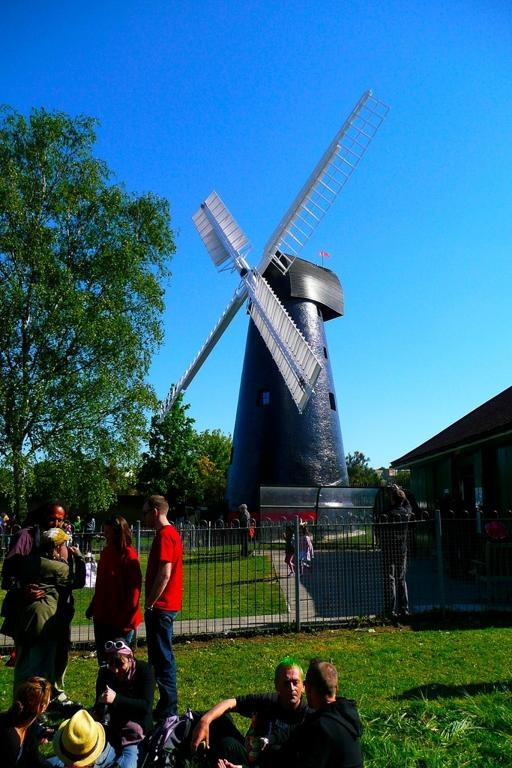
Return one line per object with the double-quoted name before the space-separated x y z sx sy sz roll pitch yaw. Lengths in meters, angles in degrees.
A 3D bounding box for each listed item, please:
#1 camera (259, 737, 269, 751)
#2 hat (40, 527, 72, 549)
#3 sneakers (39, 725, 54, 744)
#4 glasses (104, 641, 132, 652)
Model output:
"camera" 0.055 2.089 3.379 0.046 0.061 0.089 3 -13 -8
"hat" -1.665 1.263 4.881 0.162 0.186 0.225 -1 -8 18
"sneakers" -1.247 2.096 3.495 0.132 0.054 0.135 2 -34 -20
"glasses" -0.897 1.716 3.860 0.104 0.047 0.138 0 -33 3
